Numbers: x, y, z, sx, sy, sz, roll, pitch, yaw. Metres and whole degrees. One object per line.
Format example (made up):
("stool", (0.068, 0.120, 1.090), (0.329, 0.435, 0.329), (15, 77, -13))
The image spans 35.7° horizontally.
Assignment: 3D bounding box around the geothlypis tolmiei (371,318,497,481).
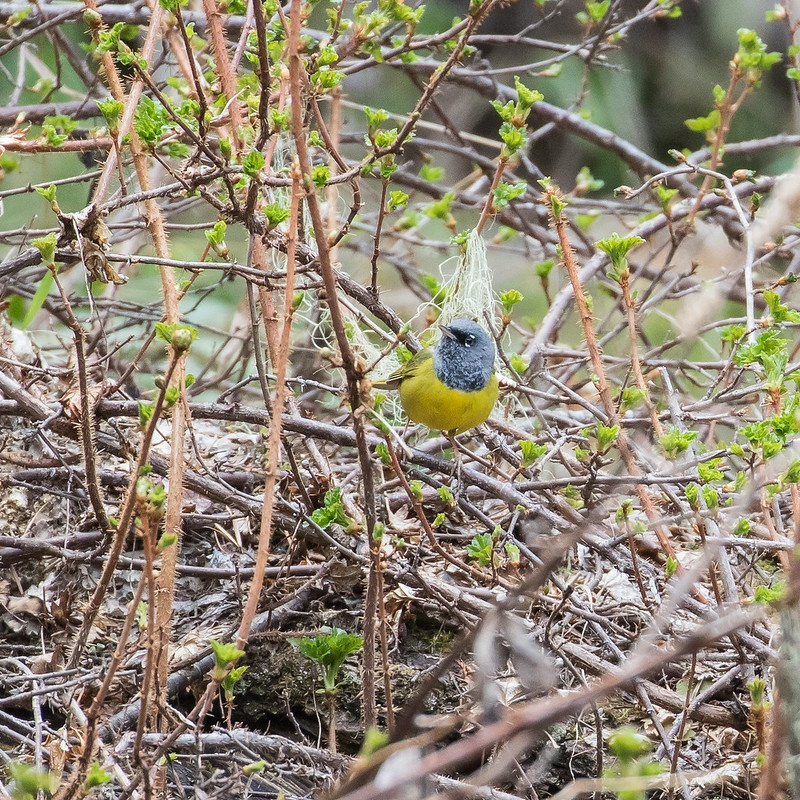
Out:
("geothlypis tolmiei", (0.179, -0.101, 5.234), (0.485, 0.484, 0.343), (9, 7, 12))
